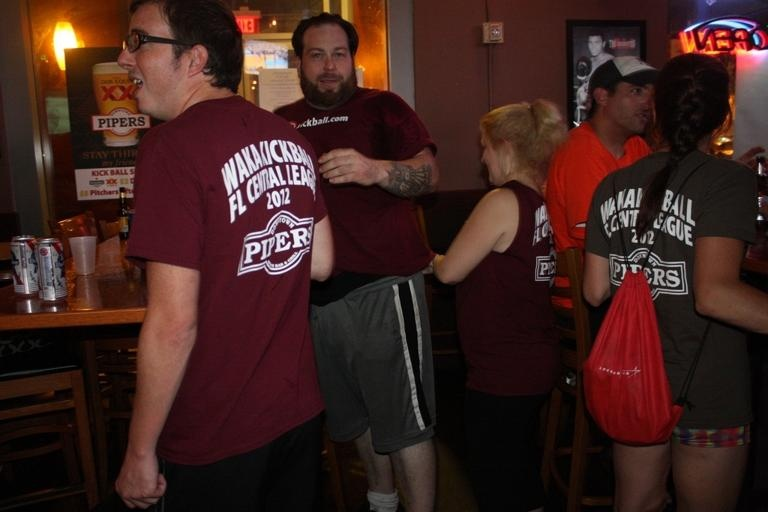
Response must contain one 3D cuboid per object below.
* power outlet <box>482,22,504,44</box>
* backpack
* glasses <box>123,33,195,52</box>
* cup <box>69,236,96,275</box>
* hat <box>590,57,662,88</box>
[{"bbox_3d":[0.894,-1.851,4.834,0.180,0.171,0.094,-1,9,-3],"label":"power outlet"},{"bbox_3d":[0.957,0.384,2.117,0.422,0.649,0.204,-5,10,-15],"label":"backpack"},{"bbox_3d":[-0.728,-0.670,1.824,0.241,0.061,0.056,1,10,16],"label":"glasses"},{"bbox_3d":[-1.680,-0.008,3.258,0.125,0.200,0.185,-8,11,-28],"label":"cup"},{"bbox_3d":[1.288,-0.972,3.161,0.271,0.137,0.198,10,24,42],"label":"hat"}]
